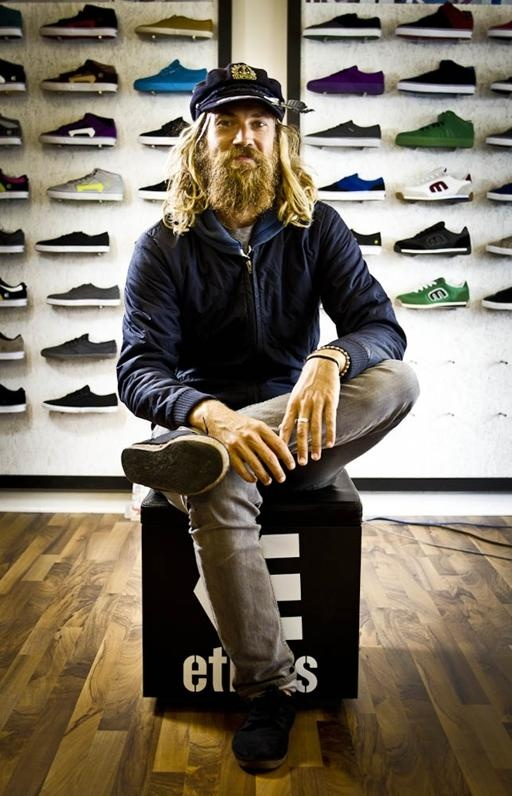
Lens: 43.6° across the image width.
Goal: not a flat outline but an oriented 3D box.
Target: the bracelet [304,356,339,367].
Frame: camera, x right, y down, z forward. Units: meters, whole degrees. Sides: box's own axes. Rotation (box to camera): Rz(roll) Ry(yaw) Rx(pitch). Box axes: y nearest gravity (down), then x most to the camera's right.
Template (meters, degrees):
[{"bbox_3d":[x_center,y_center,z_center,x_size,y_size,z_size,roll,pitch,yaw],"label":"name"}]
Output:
[{"bbox_3d":[0.144,-0.075,1.330,0.073,0.032,0.042,1,6,5],"label":"bracelet"}]

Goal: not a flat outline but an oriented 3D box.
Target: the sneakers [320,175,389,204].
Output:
[{"bbox_3d":[0.402,-0.853,2.651,0.305,0.115,0.109,0,8,-3],"label":"sneakers"}]

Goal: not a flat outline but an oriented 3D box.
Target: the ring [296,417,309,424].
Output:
[{"bbox_3d":[0.089,0.045,1.215,0.021,0.011,0.020,0,6,0],"label":"ring"}]

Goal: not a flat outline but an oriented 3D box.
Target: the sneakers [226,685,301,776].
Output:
[{"bbox_3d":[0.021,0.630,1.246,0.090,0.086,0.248,-3,0,10],"label":"sneakers"}]

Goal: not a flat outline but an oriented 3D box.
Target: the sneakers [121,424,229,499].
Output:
[{"bbox_3d":[-0.131,0.114,1.148,0.196,0.101,0.089,7,17,25],"label":"sneakers"}]

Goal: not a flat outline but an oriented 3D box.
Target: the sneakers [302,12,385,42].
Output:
[{"bbox_3d":[0.358,-1.480,2.619,0.329,0.128,0.119,2,10,-2],"label":"sneakers"}]

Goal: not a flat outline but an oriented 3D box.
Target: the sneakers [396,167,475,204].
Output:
[{"bbox_3d":[0.757,-0.871,2.640,0.360,0.154,0.130,-1,14,-6],"label":"sneakers"}]

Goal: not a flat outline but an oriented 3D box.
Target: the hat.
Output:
[{"bbox_3d":[-0.035,-0.767,1.640,0.228,0.112,0.306,0,2,4],"label":"hat"}]

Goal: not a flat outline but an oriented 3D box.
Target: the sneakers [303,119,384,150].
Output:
[{"bbox_3d":[0.354,-1.062,2.633,0.333,0.122,0.120,1,8,-2],"label":"sneakers"}]

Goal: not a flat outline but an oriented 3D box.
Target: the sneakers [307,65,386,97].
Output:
[{"bbox_3d":[0.378,-1.267,2.615,0.336,0.152,0.121,2,16,-1],"label":"sneakers"}]

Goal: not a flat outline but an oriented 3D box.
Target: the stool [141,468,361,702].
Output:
[{"bbox_3d":[-0.006,0.415,1.544,0.445,0.445,0.454,-1,-2,1],"label":"stool"}]

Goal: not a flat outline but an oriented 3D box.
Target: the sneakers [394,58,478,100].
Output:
[{"bbox_3d":[0.686,-1.271,2.603,0.387,0.192,0.130,3,11,1],"label":"sneakers"}]

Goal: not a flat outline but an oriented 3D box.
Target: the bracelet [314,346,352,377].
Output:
[{"bbox_3d":[0.166,-0.079,1.339,0.057,0.025,0.070,5,16,3],"label":"bracelet"}]
